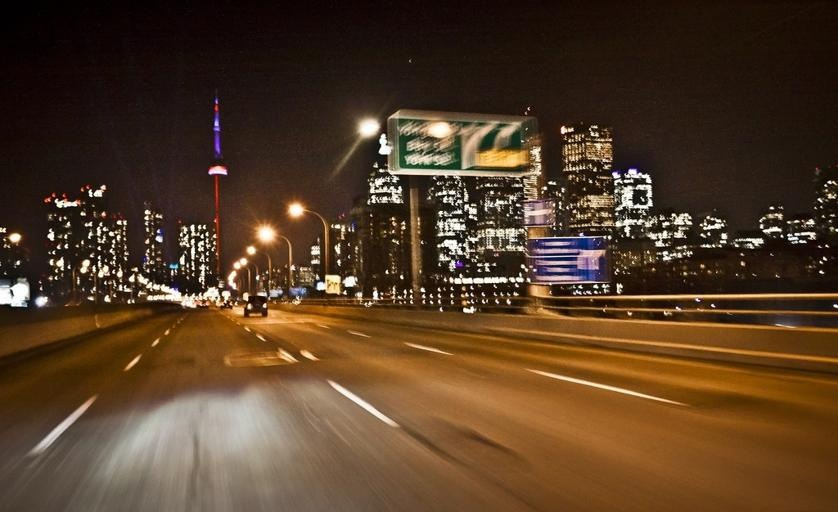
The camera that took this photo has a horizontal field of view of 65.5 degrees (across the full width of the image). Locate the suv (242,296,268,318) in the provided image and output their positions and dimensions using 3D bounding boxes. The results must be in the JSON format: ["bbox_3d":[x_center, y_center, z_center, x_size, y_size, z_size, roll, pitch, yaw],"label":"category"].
[{"bbox_3d":[-13.543,4.161,54.183,1.390,1.225,2.779,1,1,-14],"label":"suv"}]
